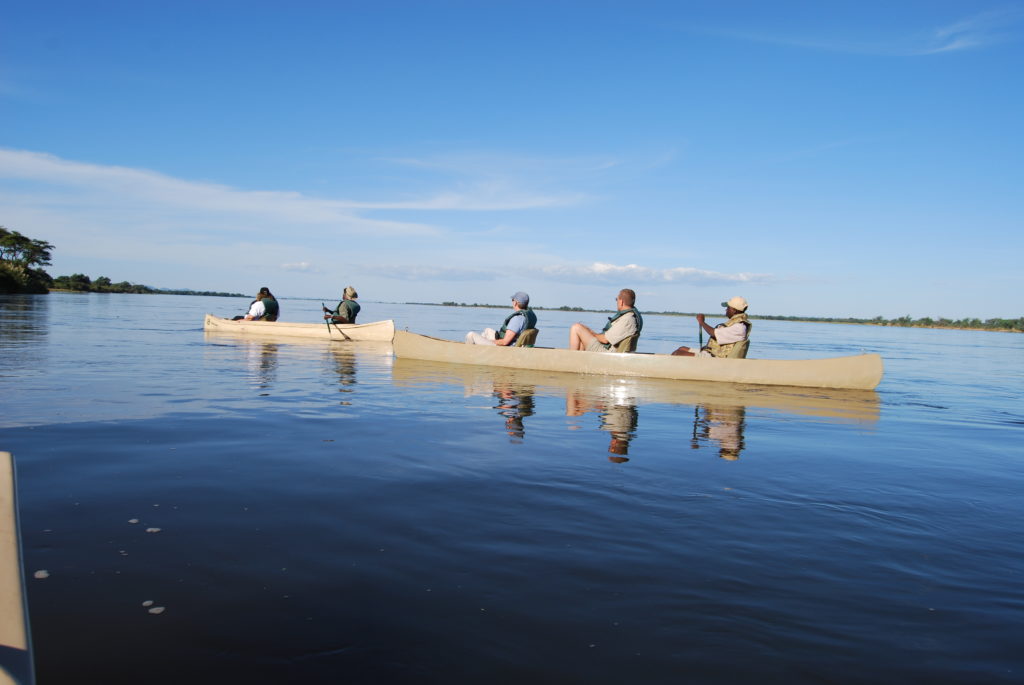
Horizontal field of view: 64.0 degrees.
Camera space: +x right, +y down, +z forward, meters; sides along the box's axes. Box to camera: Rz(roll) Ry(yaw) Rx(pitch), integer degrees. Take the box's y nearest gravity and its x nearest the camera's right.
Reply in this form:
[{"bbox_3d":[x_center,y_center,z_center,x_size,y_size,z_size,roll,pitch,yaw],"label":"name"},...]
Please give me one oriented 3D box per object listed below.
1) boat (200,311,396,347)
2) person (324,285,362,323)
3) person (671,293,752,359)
[{"bbox_3d":[-7.098,-0.510,27.226,7.406,0.868,1.690,5,7,25],"label":"boat"},{"bbox_3d":[-5.475,-1.187,26.458,1.042,1.265,1.374,1,8,-12],"label":"person"},{"bbox_3d":[4.090,-0.294,16.313,1.243,1.257,1.407,5,8,11],"label":"person"}]
